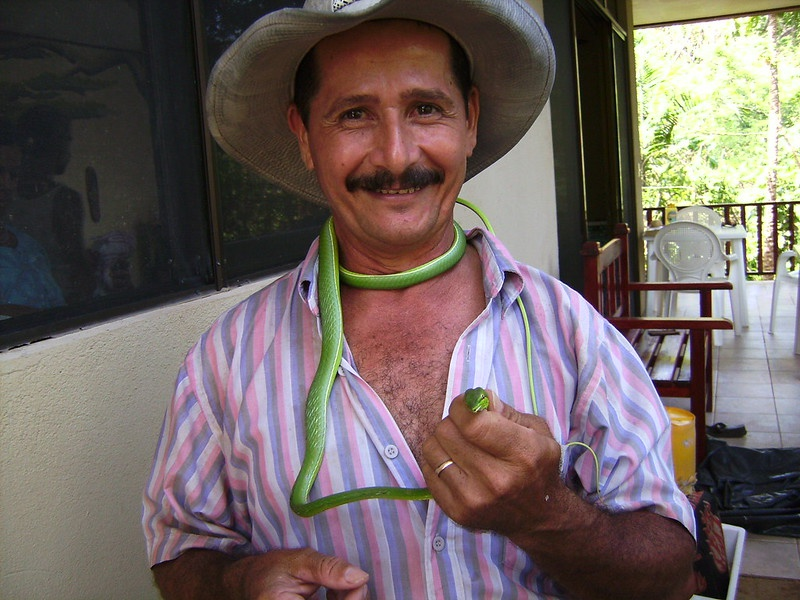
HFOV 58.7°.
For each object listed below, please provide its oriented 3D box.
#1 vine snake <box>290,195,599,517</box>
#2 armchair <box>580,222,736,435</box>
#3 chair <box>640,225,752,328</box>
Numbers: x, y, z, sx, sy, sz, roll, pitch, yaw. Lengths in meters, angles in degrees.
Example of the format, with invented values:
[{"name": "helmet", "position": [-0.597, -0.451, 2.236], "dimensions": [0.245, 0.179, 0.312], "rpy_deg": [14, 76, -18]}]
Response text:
[{"name": "vine snake", "position": [0.049, 0.107, 2.108], "dimensions": [0.713, 0.187, 1.199], "rpy_deg": [-10, 50, 9]}, {"name": "armchair", "position": [1.940, 0.120, 5.110], "dimensions": [0.643, 1.187, 1.688], "rpy_deg": [-1, 7, 10]}, {"name": "chair", "position": [3.201, -0.268, 7.622], "dimensions": [0.811, 1.261, 0.845], "rpy_deg": [6, 31, 27]}]
